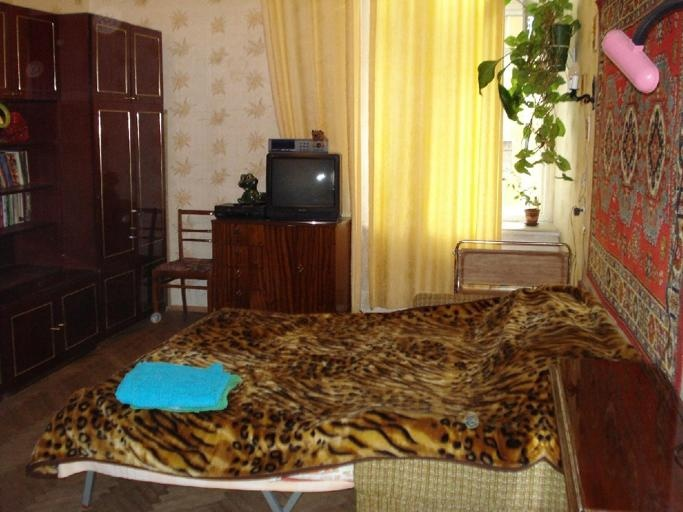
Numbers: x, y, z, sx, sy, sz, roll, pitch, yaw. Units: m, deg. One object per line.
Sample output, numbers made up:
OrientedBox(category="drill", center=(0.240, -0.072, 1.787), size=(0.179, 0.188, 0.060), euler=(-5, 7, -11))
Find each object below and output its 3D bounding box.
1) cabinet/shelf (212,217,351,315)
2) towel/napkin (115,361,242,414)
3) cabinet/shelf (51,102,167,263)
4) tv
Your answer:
OrientedBox(category="cabinet/shelf", center=(-0.471, 0.073, 4.878), size=(1.282, 1.269, 0.733), euler=(2, 5, 12))
OrientedBox(category="towel/napkin", center=(-0.679, 0.543, 2.216), size=(0.268, 0.032, 0.248), euler=(5, 18, 2))
OrientedBox(category="cabinet/shelf", center=(-1.960, -0.617, 4.711), size=(0.383, 1.468, 0.893), euler=(8, 15, 15))
OrientedBox(category="tv", center=(-0.274, -0.529, 4.746), size=(0.810, 0.747, 0.505), euler=(1, 2, 4))
